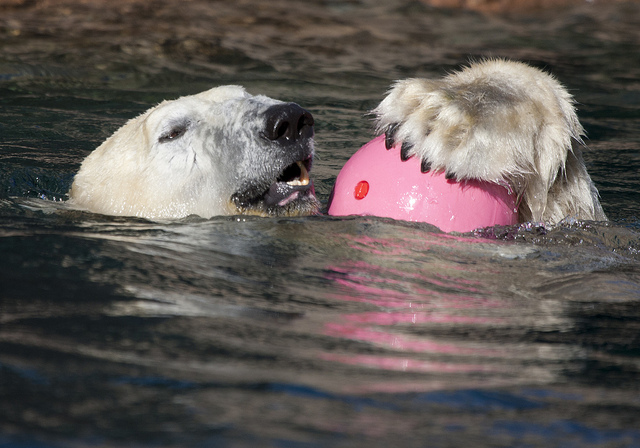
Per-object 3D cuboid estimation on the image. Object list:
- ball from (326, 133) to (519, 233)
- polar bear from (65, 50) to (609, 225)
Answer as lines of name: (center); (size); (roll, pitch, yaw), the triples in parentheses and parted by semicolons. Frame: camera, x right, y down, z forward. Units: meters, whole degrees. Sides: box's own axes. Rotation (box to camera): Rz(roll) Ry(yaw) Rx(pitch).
ball: (0.520, -0.193, 5.174); (1.059, 0.515, 0.481); (21, 42, 30)
polar bear: (0.123, -0.466, 5.337); (3.579, 1.045, 1.511); (-3, 21, -9)
